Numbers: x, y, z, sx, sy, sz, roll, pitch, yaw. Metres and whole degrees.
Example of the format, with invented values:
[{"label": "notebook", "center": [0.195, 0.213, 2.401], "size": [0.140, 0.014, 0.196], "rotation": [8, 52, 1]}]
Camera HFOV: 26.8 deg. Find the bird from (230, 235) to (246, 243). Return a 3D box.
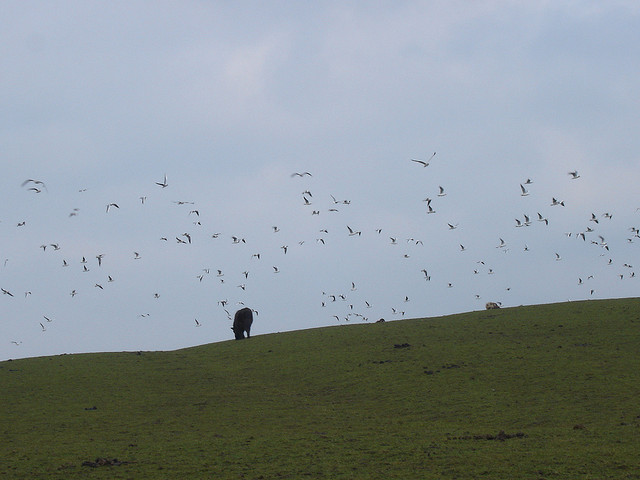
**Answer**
[{"label": "bird", "center": [-2.171, -0.023, 34.730], "size": [0.376, 0.341, 0.153], "rotation": [-2, 0, 8]}]
